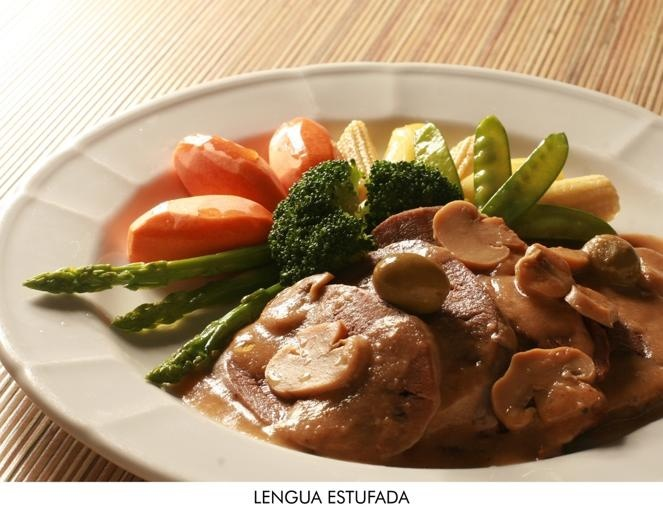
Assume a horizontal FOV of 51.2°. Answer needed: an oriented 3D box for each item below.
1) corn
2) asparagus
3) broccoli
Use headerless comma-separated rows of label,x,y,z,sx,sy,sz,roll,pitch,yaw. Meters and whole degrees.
corn,0.719,-0.389,3.203,1.439,0.233,0.268,15,46,6
asparagus,-0.520,0.178,2.820,0.806,0.428,0.654,-34,71,-10
broccoli,0.080,-0.267,3.314,0.958,0.891,0.313,-7,93,-10
